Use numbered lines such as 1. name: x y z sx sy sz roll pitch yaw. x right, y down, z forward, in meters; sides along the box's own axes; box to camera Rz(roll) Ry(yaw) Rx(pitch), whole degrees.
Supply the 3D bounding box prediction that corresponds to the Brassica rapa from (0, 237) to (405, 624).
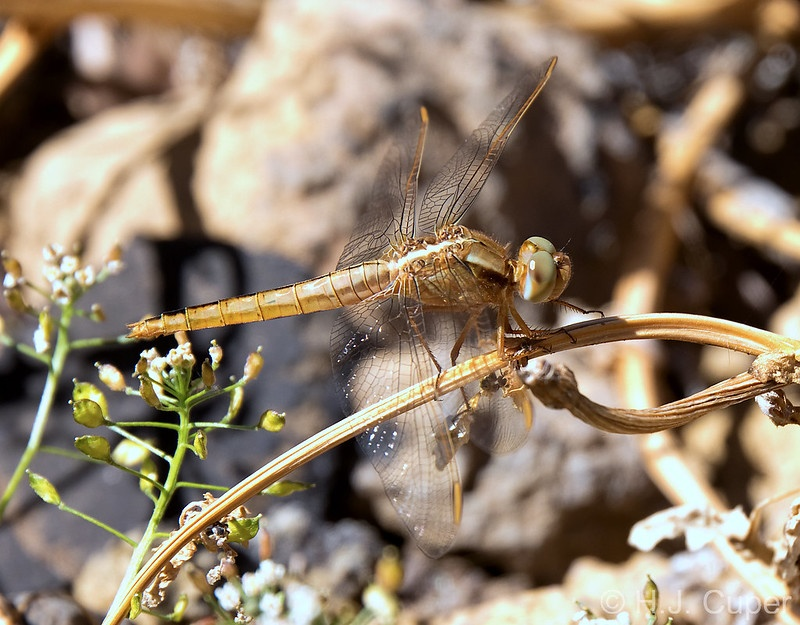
1. Brassica rapa: -0.545 0.148 1.720 0.517 0.304 0.719 34 -15 -27
